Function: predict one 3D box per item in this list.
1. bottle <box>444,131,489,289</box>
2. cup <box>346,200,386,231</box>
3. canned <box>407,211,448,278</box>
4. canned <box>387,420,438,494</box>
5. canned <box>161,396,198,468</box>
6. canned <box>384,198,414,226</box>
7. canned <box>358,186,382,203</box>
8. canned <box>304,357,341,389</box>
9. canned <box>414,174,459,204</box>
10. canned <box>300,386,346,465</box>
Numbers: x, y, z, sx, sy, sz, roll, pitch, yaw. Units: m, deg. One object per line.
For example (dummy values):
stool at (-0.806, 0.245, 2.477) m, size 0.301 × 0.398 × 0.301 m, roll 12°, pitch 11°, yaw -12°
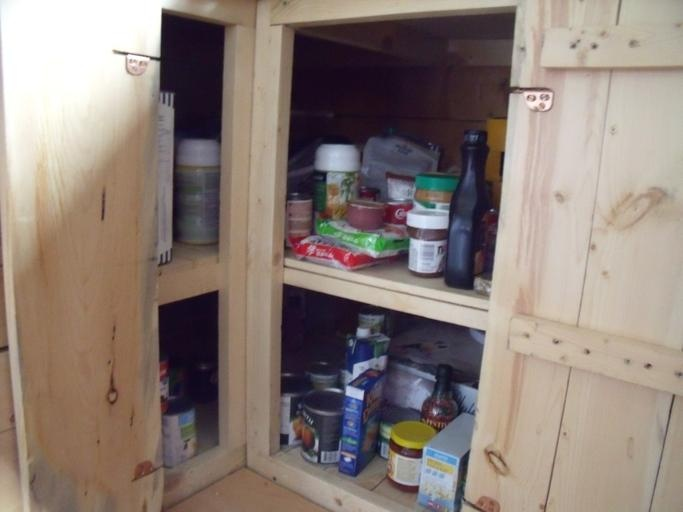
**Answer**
bottle at (0.263, -0.098, 1.198) m, size 0.073 × 0.312 × 0.104 m, roll 6°, pitch 15°, yaw 15°
cup at (0.058, -0.097, 1.372) m, size 0.072 × 0.049 × 0.073 m, roll 5°, pitch 17°, yaw -2°
canned at (0.189, -0.040, 1.337) m, size 0.114 × 0.185 × 0.120 m, roll 3°, pitch 14°, yaw 17°
canned at (0.159, 0.454, 1.407) m, size 0.127 × 0.150 × 0.129 m, roll 14°, pitch 18°, yaw 40°
canned at (-0.389, 0.426, 1.407) m, size 0.107 × 0.125 × 0.109 m, roll 6°, pitch 10°, yaw 30°
canned at (0.139, -0.110, 1.429) m, size 0.057 × 0.060 × 0.056 m, roll 10°, pitch 12°, yaw 41°
canned at (0.081, -0.169, 1.509) m, size 0.044 × 0.043 × 0.047 m, roll -2°, pitch 26°, yaw -6°
canned at (-0.058, 0.303, 1.570) m, size 0.064 × 0.073 × 0.067 m, roll 9°, pitch 19°, yaw 23°
canned at (0.216, -0.161, 1.295) m, size 0.072 × 0.047 × 0.071 m, roll -12°, pitch 19°, yaw -43°
canned at (-0.066, 0.414, 1.466) m, size 0.128 × 0.155 × 0.134 m, roll -3°, pitch 15°, yaw -20°
